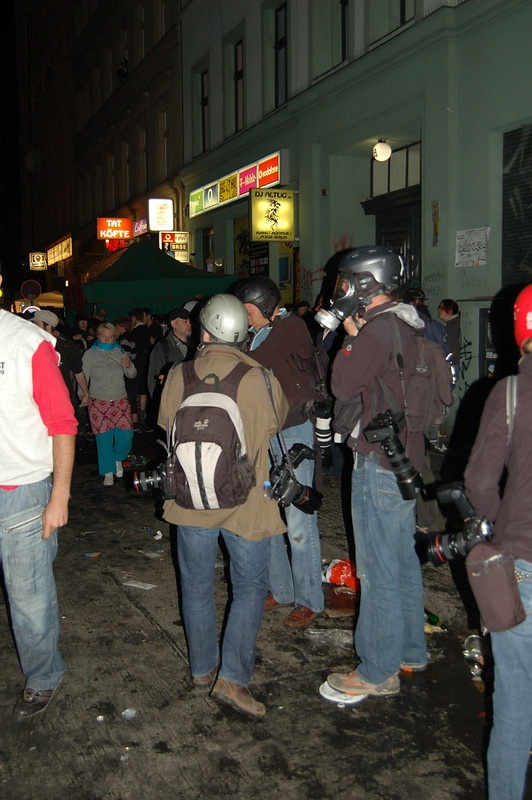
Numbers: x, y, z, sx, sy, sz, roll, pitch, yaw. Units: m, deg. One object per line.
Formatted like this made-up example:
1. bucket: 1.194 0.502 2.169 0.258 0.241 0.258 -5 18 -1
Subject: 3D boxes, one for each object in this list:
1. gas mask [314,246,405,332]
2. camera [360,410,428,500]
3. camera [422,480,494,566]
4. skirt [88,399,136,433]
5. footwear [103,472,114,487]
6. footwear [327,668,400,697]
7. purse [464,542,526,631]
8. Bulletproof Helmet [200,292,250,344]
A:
1. gas mask: 0.407 -0.540 2.822 0.422 0.434 0.326 3 11 3
2. camera: 0.585 0.250 2.658 0.231 0.384 0.150 -27 -1 39
3. camera: 0.664 0.477 2.161 0.274 0.275 0.264 -26 -17 18
4. skirt: -1.931 0.188 7.412 0.651 0.631 0.385 -2 -1 -14
5. footwear: -2.007 0.998 7.321 0.078 0.169 0.235 1 5 -21
6. footwear: 0.478 1.371 2.899 0.327 0.154 0.143 3 1 1
7. purse: 0.668 0.560 1.720 0.167 0.261 0.110 2 6 32
8. Bulletproof Helmet: -0.218 -0.365 2.747 0.177 0.205 0.244 0 39 -20
